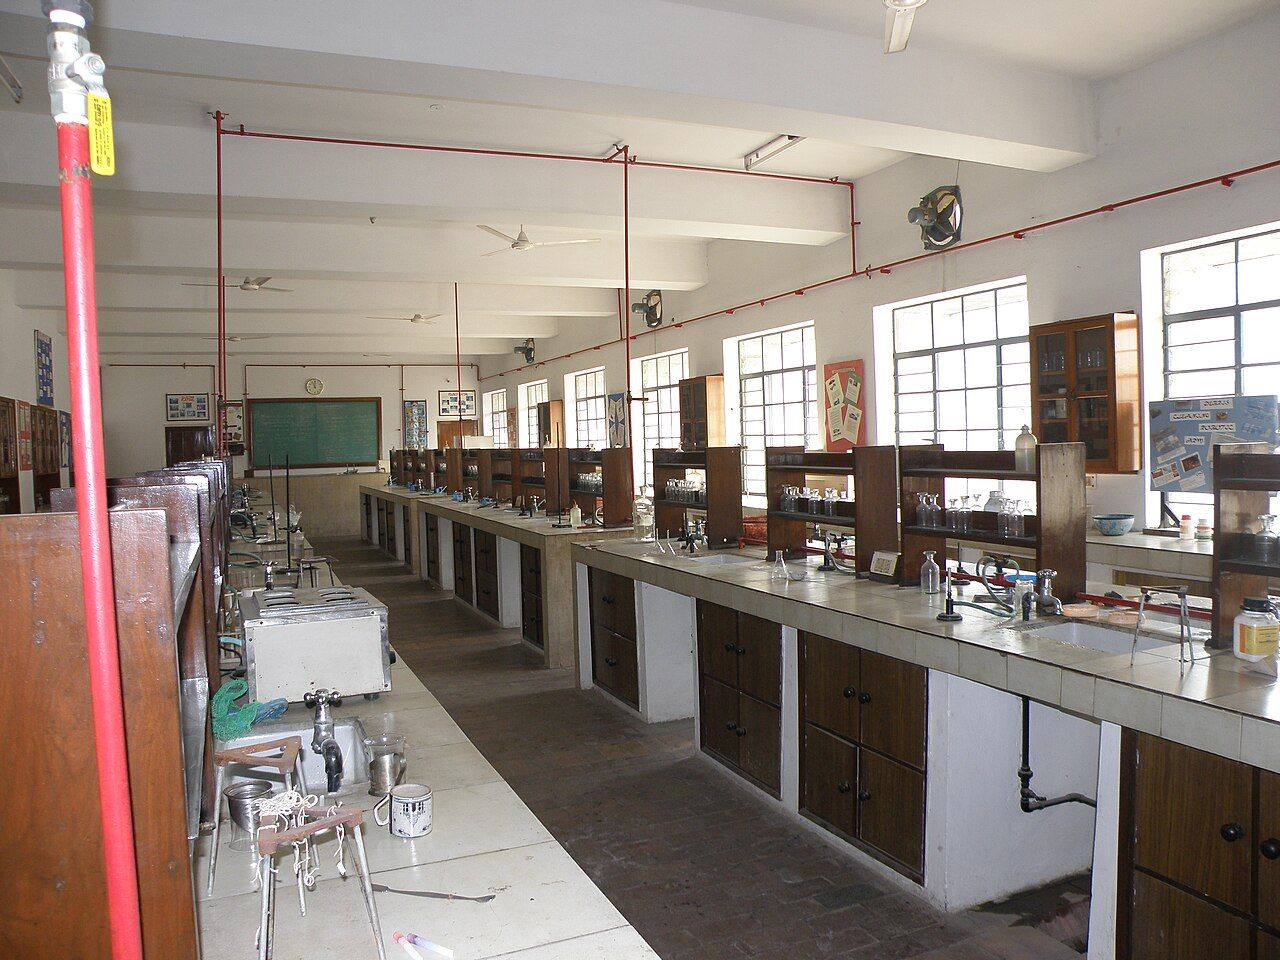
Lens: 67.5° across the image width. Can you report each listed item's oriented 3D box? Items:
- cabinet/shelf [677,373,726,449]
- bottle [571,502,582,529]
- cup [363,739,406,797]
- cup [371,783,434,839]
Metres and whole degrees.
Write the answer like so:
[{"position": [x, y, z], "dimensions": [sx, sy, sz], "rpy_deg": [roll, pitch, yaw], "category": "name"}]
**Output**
[{"position": [0.669, -0.716, 10.517], "dimensions": [0.204, 0.800, 0.493], "rpy_deg": [-5, 3, -37], "category": "cabinet/shelf"}, {"position": [-0.530, 0.309, 7.991], "dimensions": [0.138, 0.284, 0.146], "rpy_deg": [1, -3, 0], "category": "bottle"}, {"position": [-0.833, 0.946, 3.145], "dimensions": [0.151, 0.169, 0.133], "rpy_deg": [3, -2, -20], "category": "cup"}, {"position": [-0.734, 1.025, 2.982], "dimensions": [0.178, 0.136, 0.128], "rpy_deg": [0, 1, 12], "category": "cup"}]
